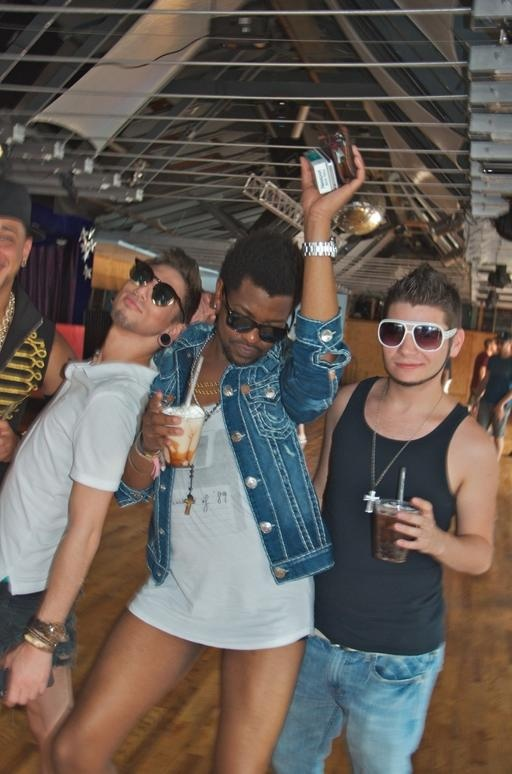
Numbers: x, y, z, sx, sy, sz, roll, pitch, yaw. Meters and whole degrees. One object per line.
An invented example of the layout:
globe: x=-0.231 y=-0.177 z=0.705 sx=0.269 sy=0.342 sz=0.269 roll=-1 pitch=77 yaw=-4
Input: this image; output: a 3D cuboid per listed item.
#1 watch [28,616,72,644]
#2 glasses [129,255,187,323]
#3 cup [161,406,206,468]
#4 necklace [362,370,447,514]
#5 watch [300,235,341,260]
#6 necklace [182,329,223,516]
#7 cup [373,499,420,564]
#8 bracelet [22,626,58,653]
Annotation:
watch: x=-0.454 y=0.524 z=1.303 sx=0.062 sy=0.049 sz=0.077 roll=-6 pitch=-7 yaw=6
glasses: x=-0.278 y=-0.278 z=1.667 sx=0.145 sy=0.143 sz=0.048 roll=31 pitch=55 yaw=20
cup: x=-0.174 y=0.119 z=1.394 sx=0.093 sy=0.152 sz=0.079 roll=1 pitch=9 yaw=-10
necklace: x=0.364 y=0.118 z=1.567 sx=0.118 sy=0.438 sz=0.035 roll=16 pitch=-28 yaw=18
watch: x=0.139 y=-0.300 z=1.286 sx=0.067 sy=0.039 sz=0.068 roll=2 pitch=3 yaw=22
necklace: x=-0.151 y=0.104 z=1.503 sx=0.116 sy=0.372 sz=0.025 roll=9 pitch=4 yaw=-8
cup: x=0.318 y=0.357 z=1.386 sx=0.093 sy=0.186 sz=0.160 roll=4 pitch=9 yaw=12
bracelet: x=-0.453 y=0.529 z=1.251 sx=0.066 sy=0.042 sz=0.064 roll=21 pitch=-12 yaw=20
